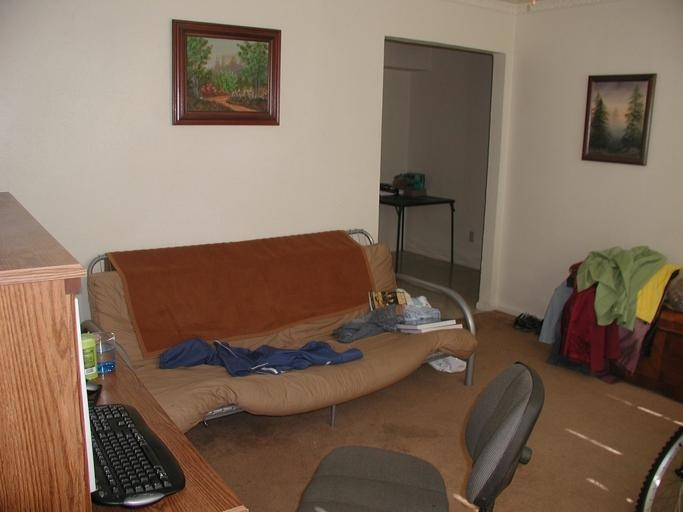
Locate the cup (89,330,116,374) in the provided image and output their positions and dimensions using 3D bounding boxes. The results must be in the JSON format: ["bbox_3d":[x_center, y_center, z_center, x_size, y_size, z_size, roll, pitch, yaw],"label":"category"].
[{"bbox_3d":[-0.921,0.382,2.019,0.133,0.155,0.135,1,4,0],"label":"cup"}]

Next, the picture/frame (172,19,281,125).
[{"bbox_3d":[-0.808,-1.263,3.406,0.766,0.653,0.061,-2,7,-31],"label":"picture/frame"}]

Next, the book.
[{"bbox_3d":[0.444,0.421,3.586,0.379,0.160,0.412,-6,11,-31],"label":"book"}]
